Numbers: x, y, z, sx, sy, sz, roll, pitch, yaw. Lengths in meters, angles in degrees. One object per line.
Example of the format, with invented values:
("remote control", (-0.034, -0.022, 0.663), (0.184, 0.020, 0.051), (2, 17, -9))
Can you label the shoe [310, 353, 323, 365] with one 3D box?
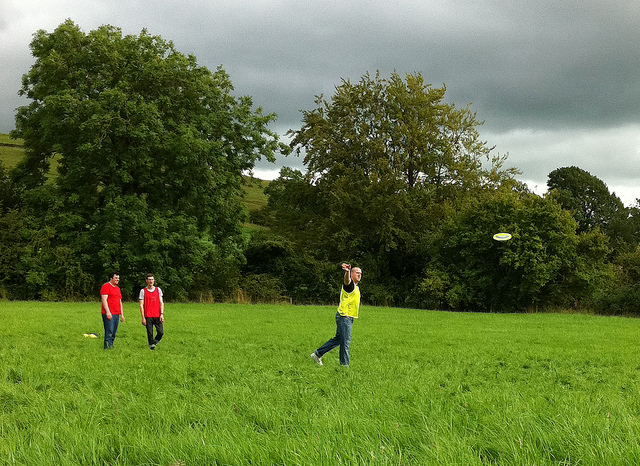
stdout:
("shoe", (-0.096, 3.717, 18.256), (0.186, 0.463, 0.154), (-26, 8, 7))

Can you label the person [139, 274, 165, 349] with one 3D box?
("person", (-5.613, 2.599, 20.686), (0.745, 2.415, 0.891), (1, -5, -17))
